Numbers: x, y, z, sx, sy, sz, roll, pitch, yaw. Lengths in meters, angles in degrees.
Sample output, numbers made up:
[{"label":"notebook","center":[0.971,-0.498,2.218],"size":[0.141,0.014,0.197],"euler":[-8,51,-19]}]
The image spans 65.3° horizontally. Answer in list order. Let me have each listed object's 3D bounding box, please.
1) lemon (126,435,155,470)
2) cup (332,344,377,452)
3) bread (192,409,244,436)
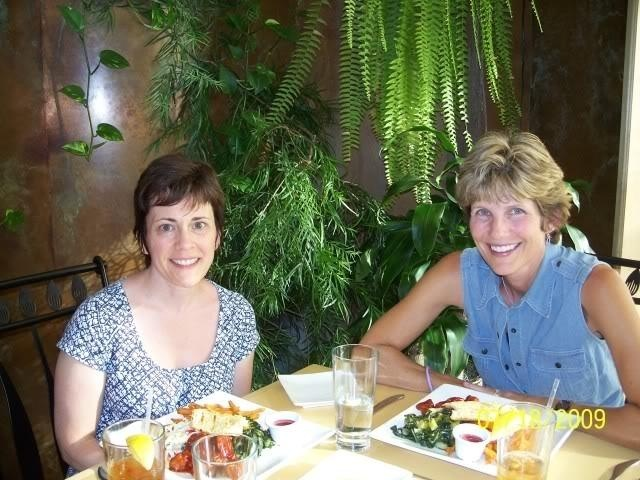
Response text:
[{"label":"lemon","center":[-0.295,0.344,0.807],"size":[0.045,0.043,0.025],"euler":[-1,-1,6]},{"label":"cup","center":[0.076,0.320,1.058],"size":[0.091,0.205,0.095],"euler":[0,3,0]},{"label":"bread","center":[-0.205,0.363,0.999],"size":[0.091,0.035,0.061],"euler":[0,-5,25]}]
